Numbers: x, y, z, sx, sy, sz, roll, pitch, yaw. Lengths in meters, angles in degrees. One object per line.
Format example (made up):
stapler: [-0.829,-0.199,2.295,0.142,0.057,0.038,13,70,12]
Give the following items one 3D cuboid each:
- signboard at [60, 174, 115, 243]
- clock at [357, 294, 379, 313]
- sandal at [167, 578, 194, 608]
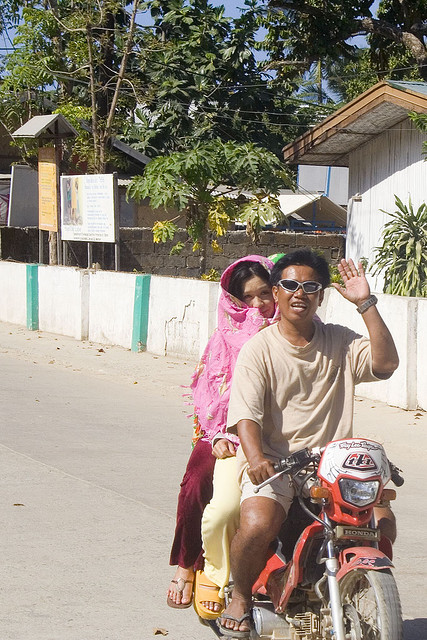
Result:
signboard: [-2.271,-2.010,14.467,0.187,1.215,2.128,-3,7,-31]
clock: [0.563,-0.058,2.923,0.073,0.048,0.077,-36,-10,22]
sandal: [-0.131,1.102,3.269,0.119,0.118,0.073,2,7,8]
